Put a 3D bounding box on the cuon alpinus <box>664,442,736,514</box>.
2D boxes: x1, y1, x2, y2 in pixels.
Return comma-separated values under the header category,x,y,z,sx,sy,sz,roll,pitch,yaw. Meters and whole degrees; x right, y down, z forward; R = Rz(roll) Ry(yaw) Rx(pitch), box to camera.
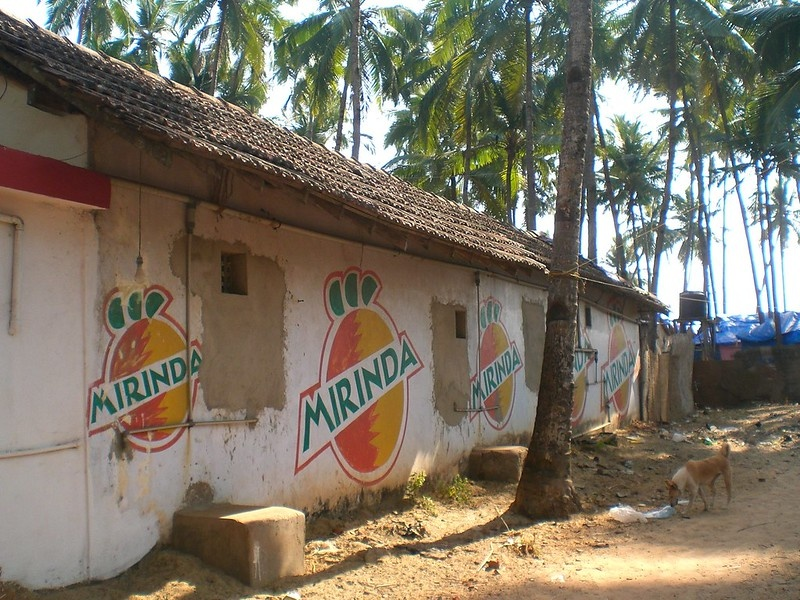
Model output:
category,x,y,z,sx,sy,sz,roll,pitch,yaw
cuon alpinus,4.606,2.706,12.165,1.158,0.970,0.356,-14,11,-10
